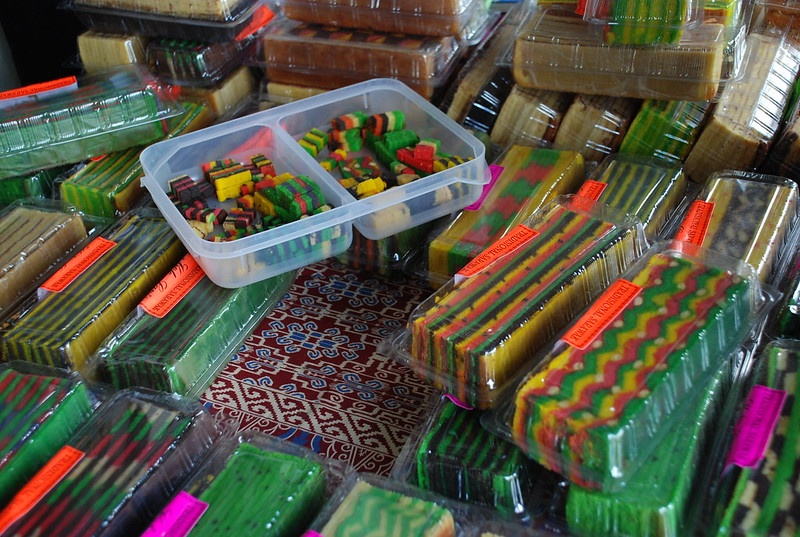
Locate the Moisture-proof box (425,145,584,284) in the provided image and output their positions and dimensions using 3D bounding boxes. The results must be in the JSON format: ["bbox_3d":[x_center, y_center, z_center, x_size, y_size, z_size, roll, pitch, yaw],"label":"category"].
[{"bbox_3d":[0.453,-0.278,2.505,0.360,0.198,0.840,23,64,35],"label":"Moisture-proof box"}]

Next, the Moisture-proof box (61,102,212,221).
[{"bbox_3d":[-1.129,-0.438,2.824,0.661,0.152,0.353,-42,44,-15],"label":"Moisture-proof box"}]

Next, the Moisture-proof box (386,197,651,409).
[{"bbox_3d":[0.465,0.016,2.091,0.891,0.215,0.501,-42,41,-20],"label":"Moisture-proof box"}]

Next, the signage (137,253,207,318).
[{"bbox_3d":[-0.835,0.073,2.298,0.131,0.042,0.256,39,55,9],"label":"signage"}]

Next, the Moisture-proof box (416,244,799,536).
[{"bbox_3d":[0.687,0.286,1.849,0.598,0.294,1.150,25,62,36],"label":"Moisture-proof box"}]

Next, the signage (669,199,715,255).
[{"bbox_3d":[1.076,-0.144,2.271,0.076,0.028,0.251,21,56,22],"label":"signage"}]

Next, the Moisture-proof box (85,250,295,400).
[{"bbox_3d":[-0.753,0.162,2.232,0.324,0.145,0.630,21,48,23],"label":"Moisture-proof box"}]
